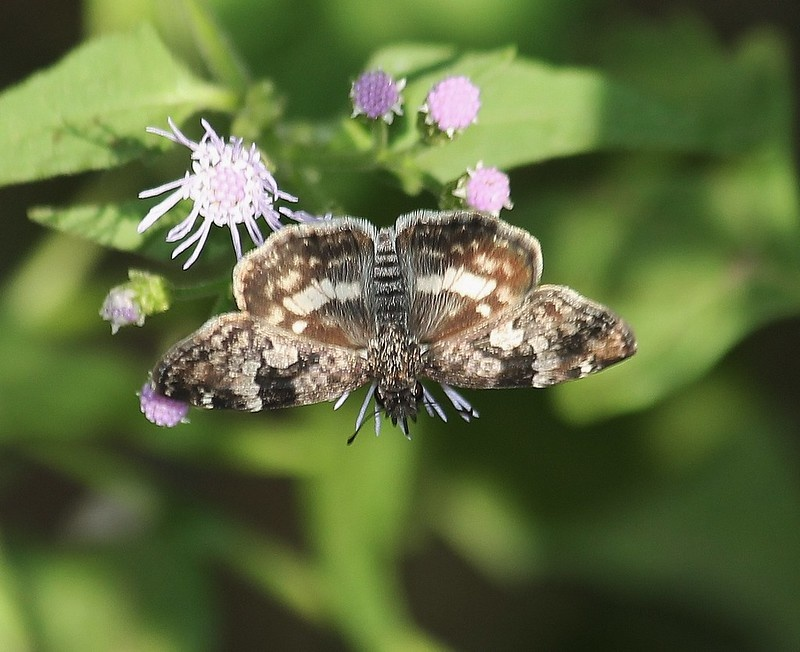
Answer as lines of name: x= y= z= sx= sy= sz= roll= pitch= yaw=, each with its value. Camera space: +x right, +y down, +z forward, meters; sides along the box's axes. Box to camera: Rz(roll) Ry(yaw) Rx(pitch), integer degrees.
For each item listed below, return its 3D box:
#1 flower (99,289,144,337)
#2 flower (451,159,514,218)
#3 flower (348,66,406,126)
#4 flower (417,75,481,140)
flower: x=-0.874 y=-0.046 z=3.405 sx=0.148 sy=0.028 sz=0.133 roll=7 pitch=97 yaw=-2
flower: x=0.271 y=-0.439 z=3.503 sx=0.191 sy=0.072 sz=0.166 roll=8 pitch=96 yaw=-8
flower: x=-0.069 y=-0.735 z=3.537 sx=0.162 sy=0.151 sz=0.167 roll=0 pitch=57 yaw=10
flower: x=0.169 y=-0.693 z=3.525 sx=0.207 sy=0.170 sz=0.156 roll=-12 pitch=56 yaw=2
